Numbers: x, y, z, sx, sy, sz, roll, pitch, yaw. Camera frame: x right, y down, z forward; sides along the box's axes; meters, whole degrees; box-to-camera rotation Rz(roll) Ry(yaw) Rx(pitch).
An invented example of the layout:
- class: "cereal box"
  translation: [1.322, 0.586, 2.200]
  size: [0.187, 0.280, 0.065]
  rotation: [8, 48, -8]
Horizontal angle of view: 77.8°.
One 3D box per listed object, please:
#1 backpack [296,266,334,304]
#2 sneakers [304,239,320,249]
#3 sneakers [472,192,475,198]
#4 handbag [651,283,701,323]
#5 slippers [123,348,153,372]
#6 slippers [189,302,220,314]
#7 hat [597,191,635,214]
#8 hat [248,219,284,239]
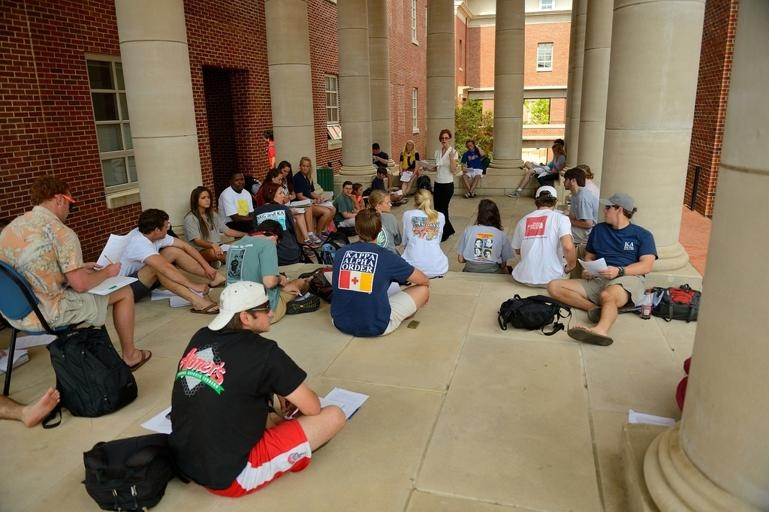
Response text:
- class: "backpack"
  translation: [-1.000, 0.414, 7.202]
  size: [0.622, 0.263, 0.434]
  rotation: [20, 16, 20]
- class: "sneakers"
  translation: [-1.522, -0.294, 10.646]
  size: [0.481, 0.215, 0.180]
  rotation: [-3, 31, -6]
- class: "sneakers"
  translation: [3.080, -2.110, 16.454]
  size: [0.115, 0.157, 0.039]
  rotation: [12, 1, 36]
- class: "handbag"
  translation: [3.889, 0.622, 6.294]
  size: [0.695, 0.231, 0.690]
  rotation: [4, 26, 20]
- class: "slippers"
  translation: [-2.821, 1.202, 5.501]
  size: [0.170, 0.104, 0.389]
  rotation: [14, 35, 0]
- class: "slippers"
  translation: [-2.568, 0.761, 6.866]
  size: [0.351, 0.089, 0.191]
  rotation: [0, 9, 14]
- class: "hat"
  translation: [3.024, -0.700, 6.243]
  size: [0.389, 0.215, 0.256]
  rotation: [9, 10, 17]
- class: "hat"
  translation: [-1.518, -0.340, 6.282]
  size: [0.334, 0.249, 0.233]
  rotation: [-3, 27, -14]
